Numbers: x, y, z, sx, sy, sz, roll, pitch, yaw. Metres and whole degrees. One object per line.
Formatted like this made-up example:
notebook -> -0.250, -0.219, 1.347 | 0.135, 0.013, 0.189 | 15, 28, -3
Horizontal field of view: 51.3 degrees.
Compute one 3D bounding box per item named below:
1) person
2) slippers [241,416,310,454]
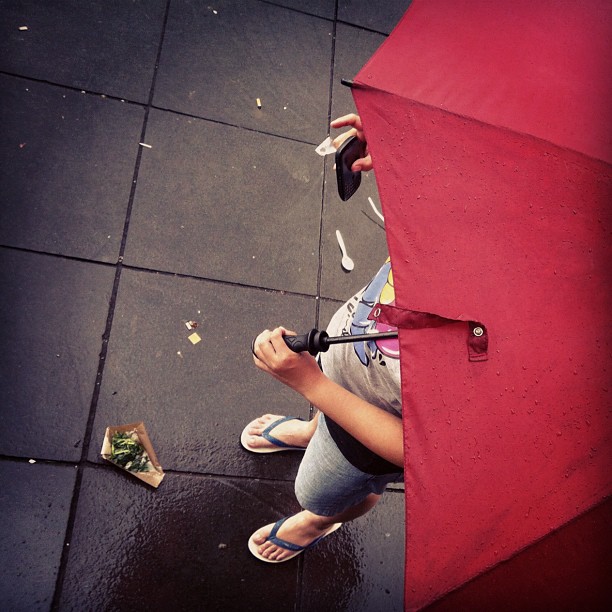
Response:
person -> 0.041, 0.200, 2.641 | 0.546, 1.697, 0.827 | 24, 69, -5
slippers -> -0.138, 0.585, 2.903 | 0.284, 0.079, 0.188 | 15, 69, 4
